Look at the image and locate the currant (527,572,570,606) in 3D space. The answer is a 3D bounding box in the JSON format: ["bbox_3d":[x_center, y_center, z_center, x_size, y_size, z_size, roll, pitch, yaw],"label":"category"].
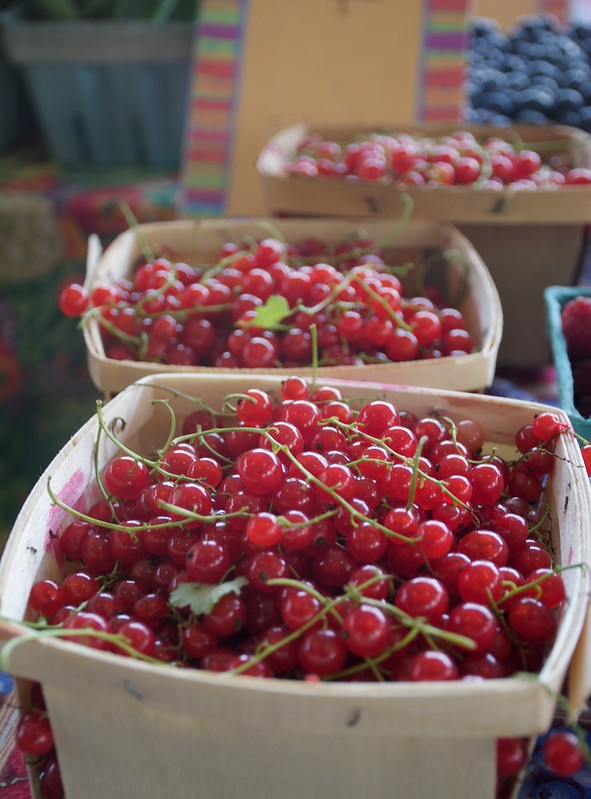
[{"bbox_3d":[0.198,0.148,0.594,0.027,0.024,0.027,13,70,-3],"label":"currant"}]

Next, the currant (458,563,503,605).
[{"bbox_3d":[0.142,0.141,0.583,0.027,0.027,0.024,15,22,-17],"label":"currant"}]

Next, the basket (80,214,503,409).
[{"bbox_3d":[-0.001,-0.118,1.303,0.542,0.161,0.376,-1,32,1],"label":"basket"}]

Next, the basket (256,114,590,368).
[{"bbox_3d":[0.258,-0.312,1.467,0.521,0.296,0.626,0,10,2],"label":"basket"}]
